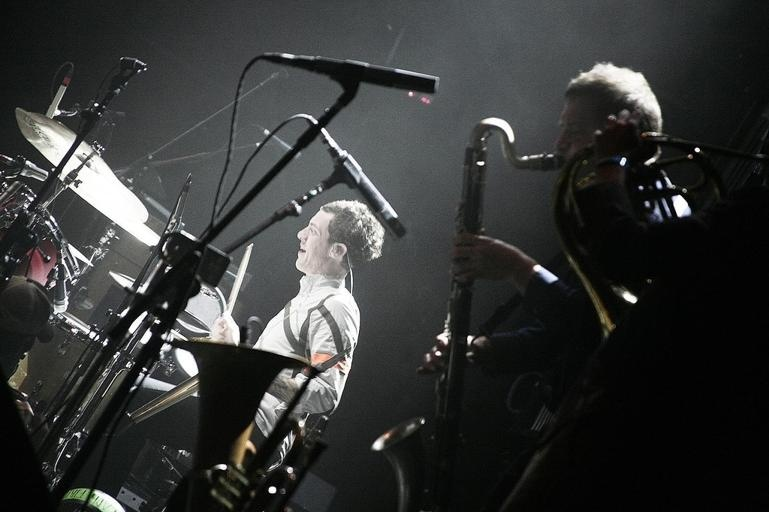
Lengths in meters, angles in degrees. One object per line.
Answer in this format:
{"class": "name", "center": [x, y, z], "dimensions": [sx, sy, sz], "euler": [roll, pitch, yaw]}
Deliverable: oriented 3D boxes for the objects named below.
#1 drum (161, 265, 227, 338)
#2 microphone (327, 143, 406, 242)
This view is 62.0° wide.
{"class": "drum", "center": [-1.365, 0.387, 4.774], "dimensions": [0.516, 0.580, 0.182], "euler": [16, 8, -10]}
{"class": "microphone", "center": [-0.004, -0.397, 4.227], "dimensions": [0.223, 0.224, 0.948], "euler": [-34, -52, 10]}
